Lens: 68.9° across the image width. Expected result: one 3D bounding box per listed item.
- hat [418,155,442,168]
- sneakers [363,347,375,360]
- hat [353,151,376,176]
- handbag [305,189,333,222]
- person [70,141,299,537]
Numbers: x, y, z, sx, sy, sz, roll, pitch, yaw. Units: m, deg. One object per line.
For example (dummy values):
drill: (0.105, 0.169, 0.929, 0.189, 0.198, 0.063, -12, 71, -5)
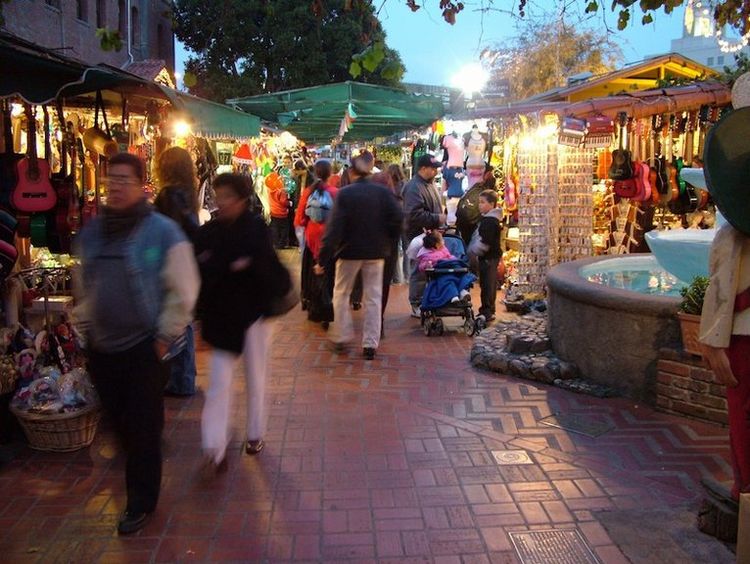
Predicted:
hat: (0.893, -1.922, 8.839, 0.290, 0.163, 0.212, -3, 16, -26)
sneakers: (-0.082, 0.900, 6.863, 0.130, 0.102, 0.129, 4, 12, 13)
hat: (-0.137, -1.500, 6.957, 0.253, 0.310, 0.302, 0, 16, -9)
handbag: (-0.851, -1.107, 8.244, 0.362, 0.543, 0.226, 7, -6, 14)
person: (-1.448, 0.377, 3.354, 0.734, 2.282, 0.342, -3, 9, -13)
